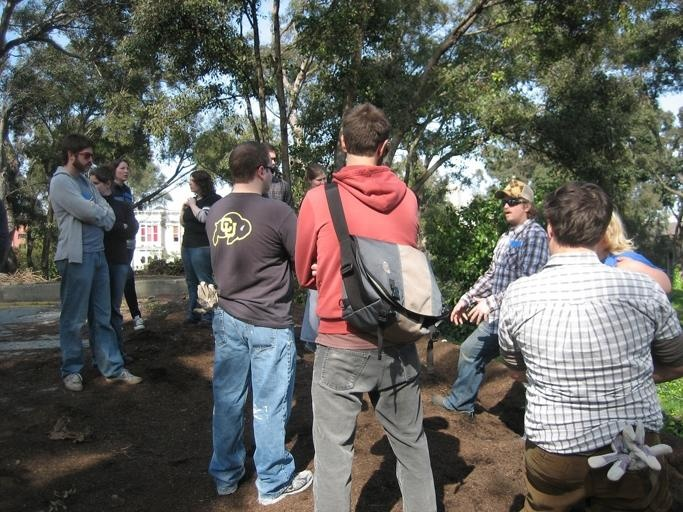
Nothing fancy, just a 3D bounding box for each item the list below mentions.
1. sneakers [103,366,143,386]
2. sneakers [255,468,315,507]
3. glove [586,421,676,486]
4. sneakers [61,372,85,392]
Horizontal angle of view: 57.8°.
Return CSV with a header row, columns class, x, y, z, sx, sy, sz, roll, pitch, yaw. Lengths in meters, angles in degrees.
class,x,y,z,sx,sy,sz,roll,pitch,yaw
sneakers,-2.594,1.456,7.420,0.459,0.199,0.172,-1,31,-11
sneakers,-0.512,2.095,5.672,0.508,0.228,0.199,-26,42,-32
glove,2.050,1.403,4.398,0.472,0.213,0.458,-19,-16,36
sneakers,-3.125,1.457,7.173,0.260,0.198,0.246,-1,1,-10
